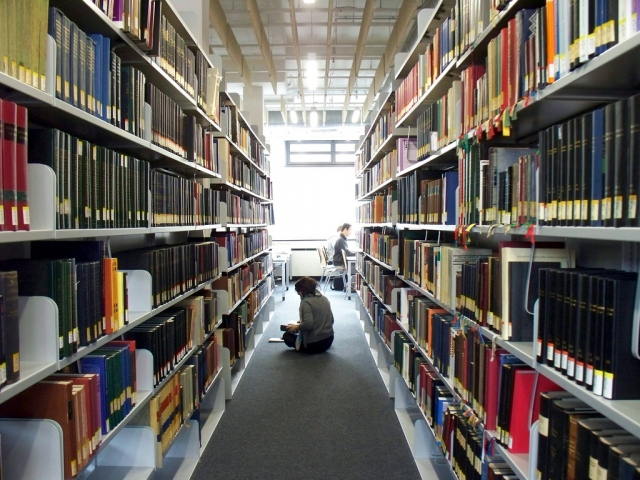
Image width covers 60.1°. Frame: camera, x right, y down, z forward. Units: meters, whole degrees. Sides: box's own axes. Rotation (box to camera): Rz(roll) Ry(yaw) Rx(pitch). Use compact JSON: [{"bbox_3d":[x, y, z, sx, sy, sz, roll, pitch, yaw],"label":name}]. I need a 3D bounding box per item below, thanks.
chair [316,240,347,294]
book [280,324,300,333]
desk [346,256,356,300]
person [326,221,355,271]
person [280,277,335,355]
[{"bbox_3d":[0.207,0.461,8.998,0.623,1.221,0.643,-1,2,2],"label":"chair"},{"bbox_3d":[-0.280,0.843,5.297,0.141,0.040,0.148,1,-1,12],"label":"book"},{"bbox_3d":[0.478,0.578,8.537,0.196,0.590,0.570,0,3,3],"label":"desk"},{"bbox_3d":[0.364,0.111,8.642,0.516,0.982,0.423,-4,9,-24],"label":"person"},{"bbox_3d":[-0.106,0.677,5.411,0.526,0.916,0.618,1,1,25],"label":"person"}]
